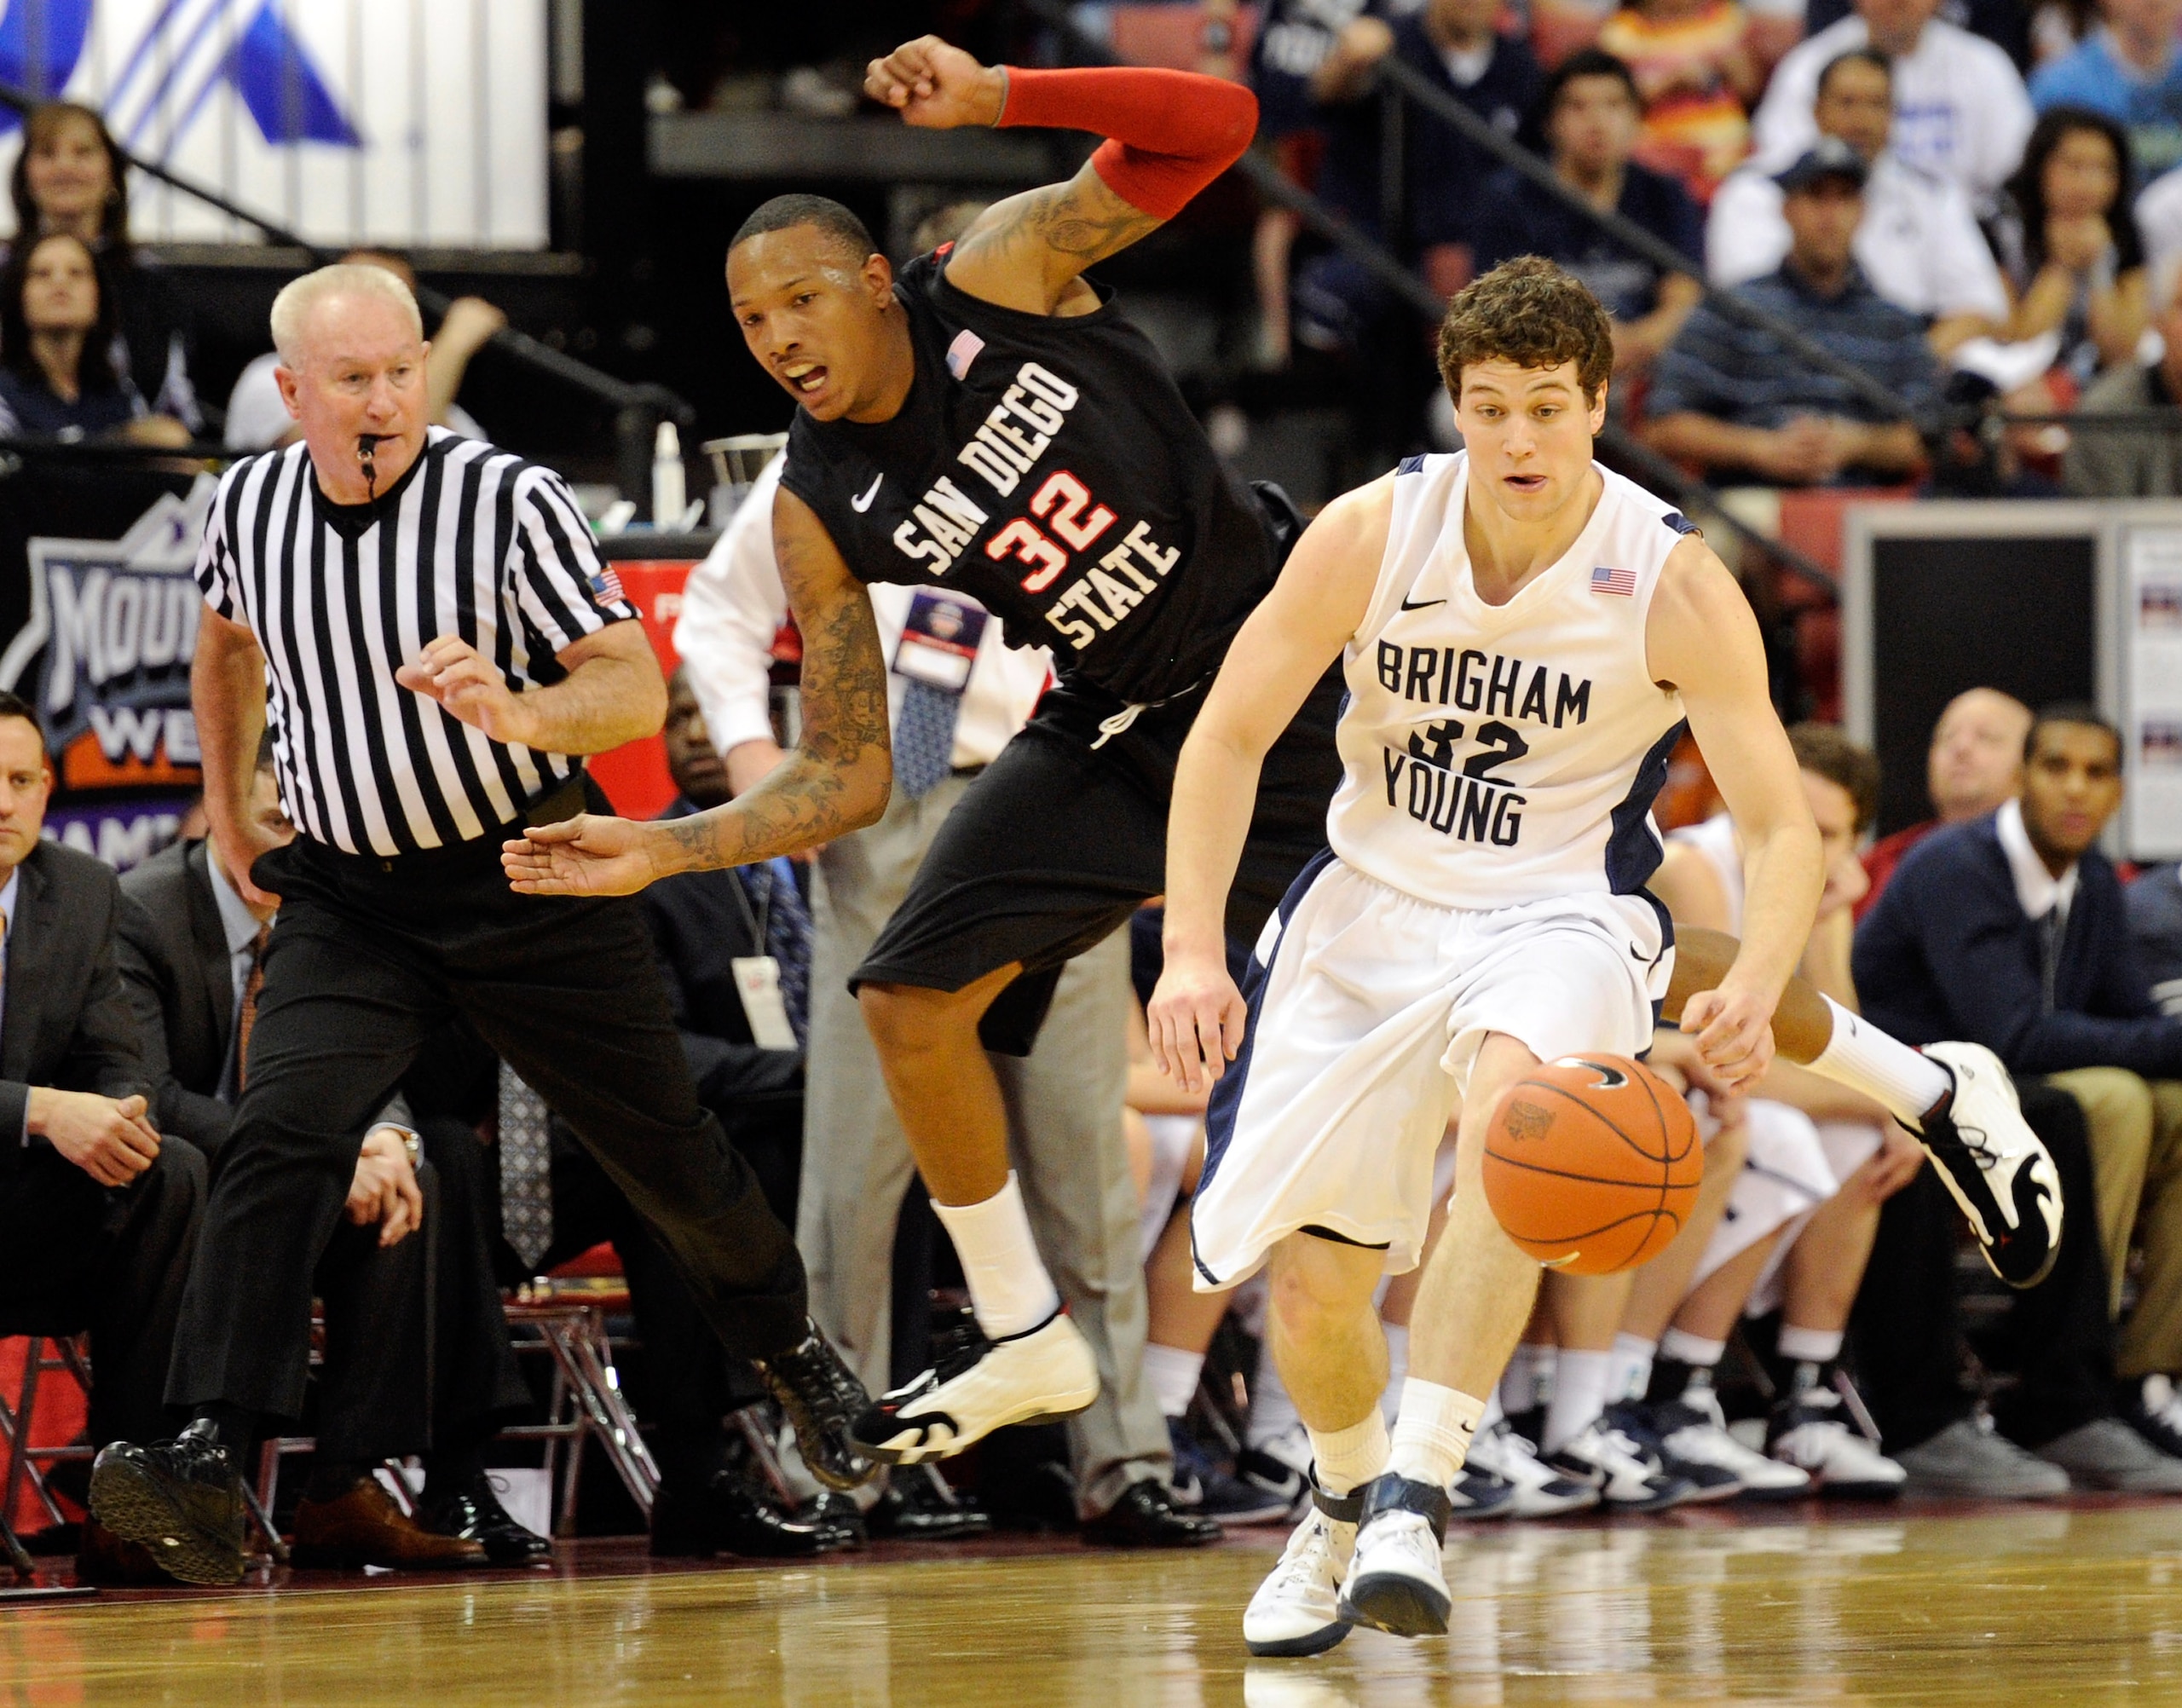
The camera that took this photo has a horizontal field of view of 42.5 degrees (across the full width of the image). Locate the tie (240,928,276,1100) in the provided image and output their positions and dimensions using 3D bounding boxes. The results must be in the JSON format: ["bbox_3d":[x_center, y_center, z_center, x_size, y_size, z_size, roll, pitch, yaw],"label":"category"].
[{"bbox_3d":[-1.599,0.316,5.403,0.038,0.360,0.048,15,10,39],"label":"tie"}]

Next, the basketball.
[{"bbox_3d":[0.724,0.425,4.184,0.288,0.324,0.308,5,3,42],"label":"basketball"}]

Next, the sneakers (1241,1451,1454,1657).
[{"bbox_3d":[0.391,1.104,4.381,0.276,0.257,0.499,2,1,-8],"label":"sneakers"}]

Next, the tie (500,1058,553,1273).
[{"bbox_3d":[-1.190,0.621,5.955,0.129,0.675,0.010,13,40,8],"label":"tie"}]
